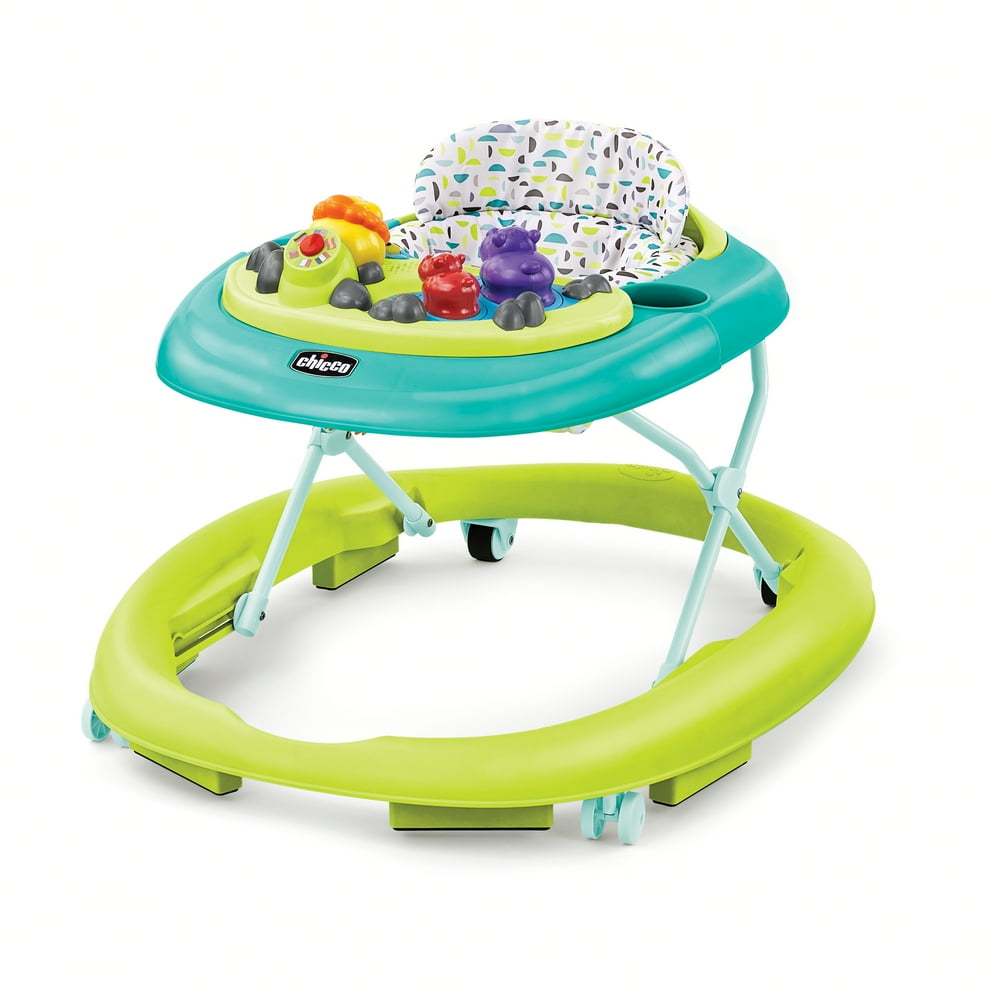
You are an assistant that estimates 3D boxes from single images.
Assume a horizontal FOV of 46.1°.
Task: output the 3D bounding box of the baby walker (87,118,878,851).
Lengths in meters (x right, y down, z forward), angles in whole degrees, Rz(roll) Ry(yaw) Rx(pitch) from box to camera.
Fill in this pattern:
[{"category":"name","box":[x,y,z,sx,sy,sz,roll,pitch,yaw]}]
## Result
[{"category":"baby walker","box":[-0.017,-0.068,1.603,1.118,0.604,0.993,-6,19,-25]}]
